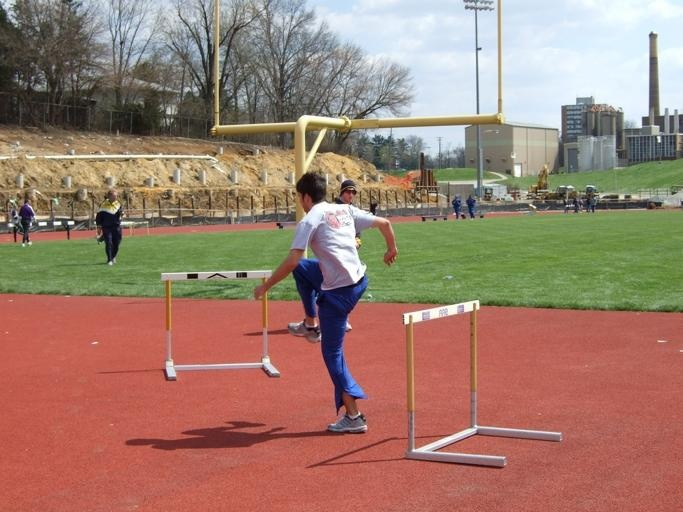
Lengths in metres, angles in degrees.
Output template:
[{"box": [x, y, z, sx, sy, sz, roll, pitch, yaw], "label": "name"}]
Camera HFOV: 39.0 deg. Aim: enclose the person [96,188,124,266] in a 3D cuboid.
[{"box": [-5.872, -0.700, 24.264, 0.589, 1.934, 0.916, -3, 12, -14], "label": "person"}]
